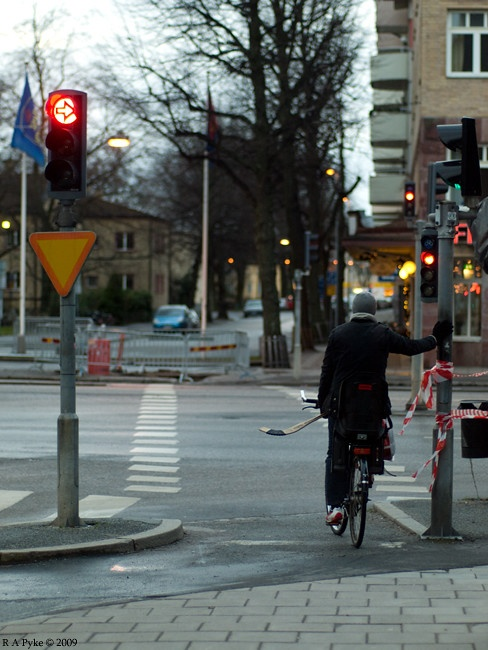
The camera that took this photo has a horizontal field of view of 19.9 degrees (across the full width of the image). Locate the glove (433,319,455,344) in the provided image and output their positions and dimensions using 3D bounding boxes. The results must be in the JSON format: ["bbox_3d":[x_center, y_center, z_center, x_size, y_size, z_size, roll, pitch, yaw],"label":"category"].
[{"bbox_3d":[1.395,0.073,9.864,0.135,0.161,0.138,-1,0,7],"label":"glove"}]

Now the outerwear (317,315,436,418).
[{"bbox_3d":[0.925,0.312,9.962,0.869,0.637,0.442,-1,0,9],"label":"outerwear"}]

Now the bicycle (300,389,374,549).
[{"bbox_3d":[0.564,1.170,9.852,0.560,0.628,1.041,3,9,-3],"label":"bicycle"}]

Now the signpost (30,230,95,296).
[{"bbox_3d":[-1.323,-0.419,10.213,0.519,0.488,0.062,-3,7,-28],"label":"signpost"}]

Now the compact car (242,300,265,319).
[{"bbox_3d":[0.533,-0.897,88.381,1.052,0.970,1.865,-2,-10,-12],"label":"compact car"}]

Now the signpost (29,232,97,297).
[{"bbox_3d":[-1.323,-0.427,10.220,0.509,0.479,0.054,-3,6,-25],"label":"signpost"}]

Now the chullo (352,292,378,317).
[{"bbox_3d":[0.864,-0.132,10.133,0.158,0.186,0.188,6,18,1],"label":"chullo"}]
